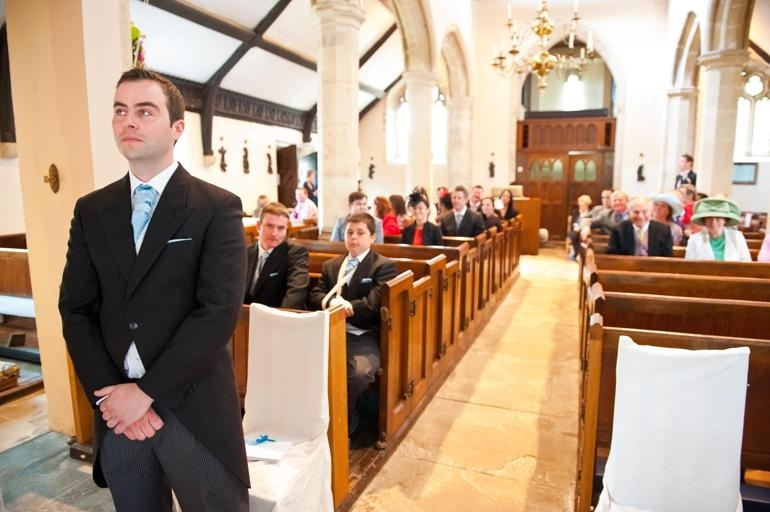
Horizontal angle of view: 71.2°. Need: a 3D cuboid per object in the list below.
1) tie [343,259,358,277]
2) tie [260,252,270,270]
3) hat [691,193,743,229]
[{"bbox_3d":[-0.309,0.087,4.659,0.098,0.161,0.038,11,-13,23],"label":"tie"},{"bbox_3d":[-1.077,0.041,4.738,0.096,0.132,0.048,7,-5,34],"label":"tie"},{"bbox_3d":[3.419,-0.436,5.619,0.366,0.201,0.385,6,-16,20],"label":"hat"}]
